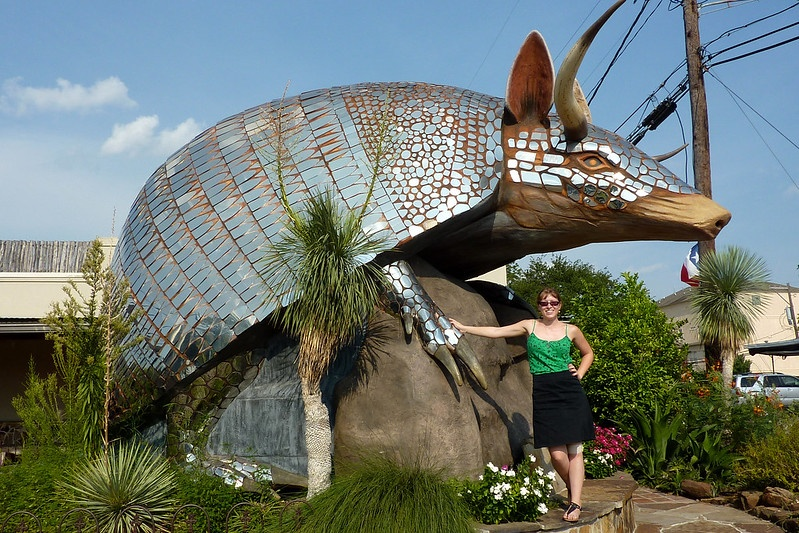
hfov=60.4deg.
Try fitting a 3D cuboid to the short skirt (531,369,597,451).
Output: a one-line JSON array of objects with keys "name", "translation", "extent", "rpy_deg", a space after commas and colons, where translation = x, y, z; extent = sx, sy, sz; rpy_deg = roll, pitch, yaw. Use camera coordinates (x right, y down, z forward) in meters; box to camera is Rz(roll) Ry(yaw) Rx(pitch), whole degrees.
[{"name": "short skirt", "translation": [2.081, 1.828, 8.738], "extent": [0.760, 1.009, 0.514], "rpy_deg": [-4, -31, 4]}]

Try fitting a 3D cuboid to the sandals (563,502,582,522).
[{"name": "sandals", "translation": [2.189, 3.095, 8.699], "extent": [0.210, 0.252, 0.265], "rpy_deg": [-5, -12, 14]}]

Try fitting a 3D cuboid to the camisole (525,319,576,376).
[{"name": "camisole", "translation": [1.943, 1.090, 8.852], "extent": [0.556, 0.850, 0.426], "rpy_deg": [0, -27, 17]}]
